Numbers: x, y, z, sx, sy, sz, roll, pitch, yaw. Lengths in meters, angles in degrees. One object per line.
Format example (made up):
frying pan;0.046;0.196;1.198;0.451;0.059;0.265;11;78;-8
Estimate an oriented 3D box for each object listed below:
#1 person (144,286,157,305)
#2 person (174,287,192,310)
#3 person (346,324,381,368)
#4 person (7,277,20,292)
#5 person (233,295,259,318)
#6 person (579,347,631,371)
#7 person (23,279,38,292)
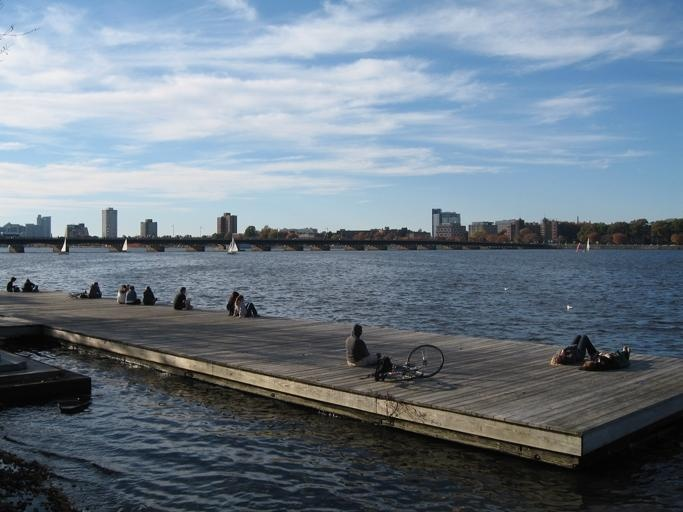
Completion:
person;-9.797;1.892;38.748;0.563;0.926;2.752;-3;11;-15
person;-7.546;1.937;36.129;0.846;1.183;2.077;-3;11;-12
person;0.596;2.615;22.297;0.756;1.242;1.184;-6;13;-23
person;-20.421;1.754;47.379;0.679;0.854;2.115;-6;12;-26
person;-4.137;2.106;32.666;0.984;0.783;1.511;-1;11;-7
person;7.721;2.992;22.092;1.649;0.445;0.771;-8;13;-39
person;-21.518;2.032;52.710;1.287;0.987;0.717;-3;0;-14
